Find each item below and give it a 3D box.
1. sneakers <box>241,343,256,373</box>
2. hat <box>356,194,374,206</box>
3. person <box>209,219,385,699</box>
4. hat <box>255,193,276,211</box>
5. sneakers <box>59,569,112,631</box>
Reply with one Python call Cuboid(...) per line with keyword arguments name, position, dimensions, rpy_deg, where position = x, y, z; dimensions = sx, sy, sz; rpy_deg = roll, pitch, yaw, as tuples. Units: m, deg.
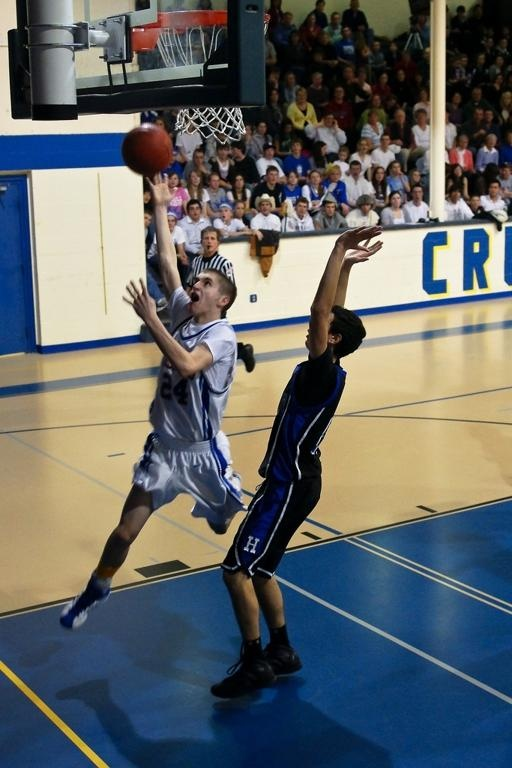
Cuboid(name="sneakers", position=(-0.096, -0.270, 7.442), dimensions=(0.122, 0.366, 0.157), rpy_deg=(8, 28, 40))
Cuboid(name="hat", position=(2.252, -3.769, 13.210), dimensions=(0.283, 0.293, 0.223), rpy_deg=(7, 12, -1))
Cuboid(name="person", position=(0.176, 0.295, 2.592), dimensions=(0.491, 1.817, 0.883), rpy_deg=(3, 9, 29))
Cuboid(name="hat", position=(0.183, -3.462, 12.399), dimensions=(0.401, 0.434, 0.425), rpy_deg=(-2, 8, -10))
Cuboid(name="sneakers", position=(-0.699, 0.897, 2.629), dimensions=(0.207, 0.283, 0.148), rpy_deg=(-1, 8, -3))
